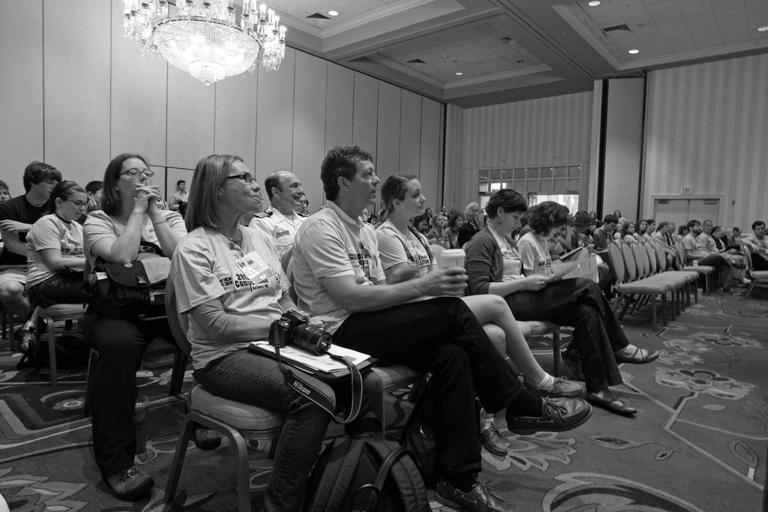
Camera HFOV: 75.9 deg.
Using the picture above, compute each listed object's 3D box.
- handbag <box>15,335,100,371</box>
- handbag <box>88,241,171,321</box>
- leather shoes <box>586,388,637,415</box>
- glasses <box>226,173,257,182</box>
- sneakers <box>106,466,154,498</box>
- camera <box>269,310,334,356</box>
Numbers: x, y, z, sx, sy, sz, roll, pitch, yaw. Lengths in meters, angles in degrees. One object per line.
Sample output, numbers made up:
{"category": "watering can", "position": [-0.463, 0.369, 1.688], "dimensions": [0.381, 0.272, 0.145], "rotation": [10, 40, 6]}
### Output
{"category": "handbag", "position": [-3.020, 0.908, 4.596], "dimensions": [0.607, 0.253, 0.400], "rotation": [0, 7, -11]}
{"category": "handbag", "position": [-1.766, 0.225, 3.405], "dimensions": [0.442, 0.681, 0.287], "rotation": [5, -13, -20]}
{"category": "leather shoes", "position": [1.838, 1.173, 4.037], "dimensions": [0.394, 0.296, 0.143], "rotation": [-3, 2, 34]}
{"category": "glasses", "position": [-0.894, -0.499, 3.080], "dimensions": [0.082, 0.028, 0.085], "rotation": [-1, 1, 17]}
{"category": "sneakers", "position": [-1.594, 1.384, 3.079], "dimensions": [0.357, 0.176, 0.137], "rotation": [3, -2, 29]}
{"category": "camera", "position": [-0.488, 0.449, 2.886], "dimensions": [0.303, 0.201, 0.297], "rotation": [15, 4, 20]}
